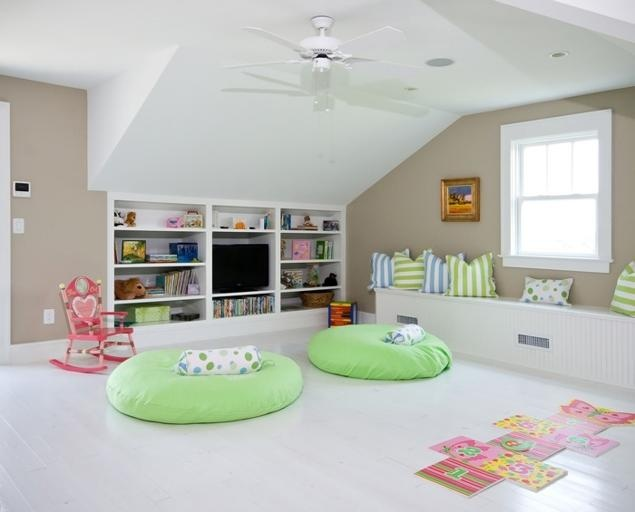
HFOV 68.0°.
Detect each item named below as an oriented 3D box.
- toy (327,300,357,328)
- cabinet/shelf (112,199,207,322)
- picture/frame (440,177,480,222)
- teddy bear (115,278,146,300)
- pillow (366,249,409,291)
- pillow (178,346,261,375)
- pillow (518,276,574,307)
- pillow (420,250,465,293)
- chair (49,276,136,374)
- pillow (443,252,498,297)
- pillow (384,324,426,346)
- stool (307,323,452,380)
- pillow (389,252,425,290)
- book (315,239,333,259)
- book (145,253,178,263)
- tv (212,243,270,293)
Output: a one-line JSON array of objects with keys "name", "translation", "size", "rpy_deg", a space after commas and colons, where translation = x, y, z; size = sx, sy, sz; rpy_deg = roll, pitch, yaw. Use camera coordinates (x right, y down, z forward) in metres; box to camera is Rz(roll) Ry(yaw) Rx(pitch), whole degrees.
[{"name": "toy", "translation": [0.324, 0.767, 6.183], "size": [0.370, 0.445, 0.286], "rpy_deg": [-1, -2, 28]}, {"name": "cabinet/shelf", "translation": [-1.850, 0.040, 5.450], "size": [1.508, 1.330, 0.406], "rpy_deg": [1, -3, -34]}, {"name": "picture/frame", "translation": [1.669, -0.661, 5.456], "size": [0.050, 0.572, 0.573], "rpy_deg": [-1, 2, -45]}, {"name": "teddy bear", "translation": [-2.073, 0.372, 5.226], "size": [0.306, 0.186, 0.210], "rpy_deg": [2, 0, -11]}, {"name": "pillow", "translation": [0.851, 0.196, 6.120], "size": [0.503, 0.463, 0.189], "rpy_deg": [-3, 5, -24]}, {"name": "pillow", "translation": [-0.762, 0.772, 3.631], "size": [0.518, 0.172, 0.243], "rpy_deg": [1, -4, -12]}, {"name": "pillow", "translation": [2.278, 0.333, 4.678], "size": [0.450, 0.255, 0.315], "rpy_deg": [3, 5, 34]}, {"name": "pillow", "translation": [1.443, 0.192, 5.396], "size": [0.448, 0.448, 0.183], "rpy_deg": [-11, -20, 41]}, {"name": "chair", "translation": [-2.120, 0.650, 4.578], "size": [0.754, 0.837, 0.652], "rpy_deg": [5, 3, 28]}, {"name": "pillow", "translation": [1.699, 0.217, 5.233], "size": [0.553, 0.485, 0.203], "rpy_deg": [0, 9, 19]}, {"name": "pillow", "translation": [0.848, 0.732, 4.438], "size": [0.266, 0.093, 0.204], "rpy_deg": [3, -2, -40]}, {"name": "stool", "translation": [0.550, 0.911, 4.414], "size": [1.352, 0.328, 0.655], "rpy_deg": [1, 5, 15]}, {"name": "pillow", "translation": [1.112, 0.193, 5.759], "size": [0.481, 0.389, 0.180], "rpy_deg": [2, -2, 31]}, {"name": "book", "translation": [0.085, -0.129, 6.860], "size": [0.245, 0.317, 0.345], "rpy_deg": [-4, 7, -45]}, {"name": "book", "translation": [-1.815, 0.026, 5.505], "size": [0.338, 0.088, 0.299], "rpy_deg": [-1, 4, -17]}, {"name": "tv", "translation": [-0.972, 0.161, 6.087], "size": [0.890, 0.611, 0.223], "rpy_deg": [-2, -3, 23]}]
